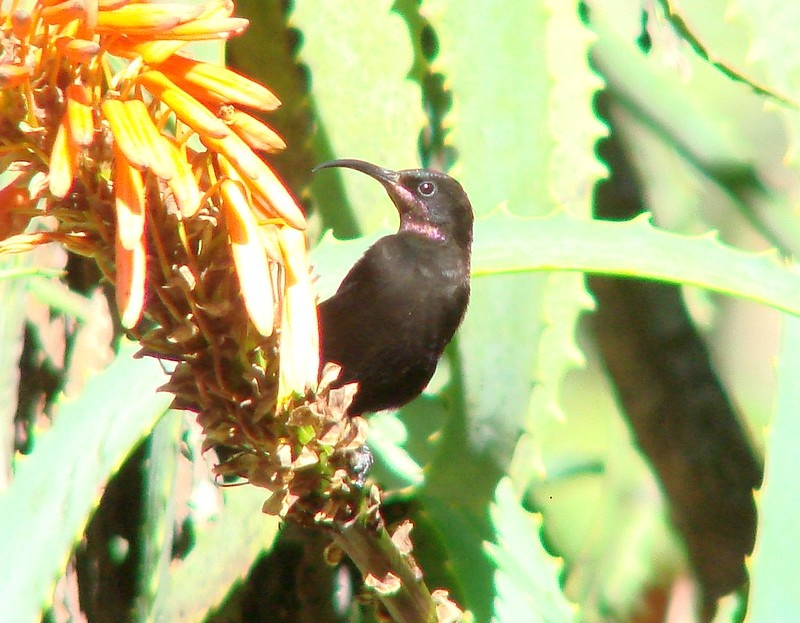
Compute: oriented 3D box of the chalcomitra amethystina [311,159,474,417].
[{"bbox_3d":[-0.007,-0.011,1.485,0.192,0.294,0.142,0,18,10],"label":"chalcomitra amethystina"}]
